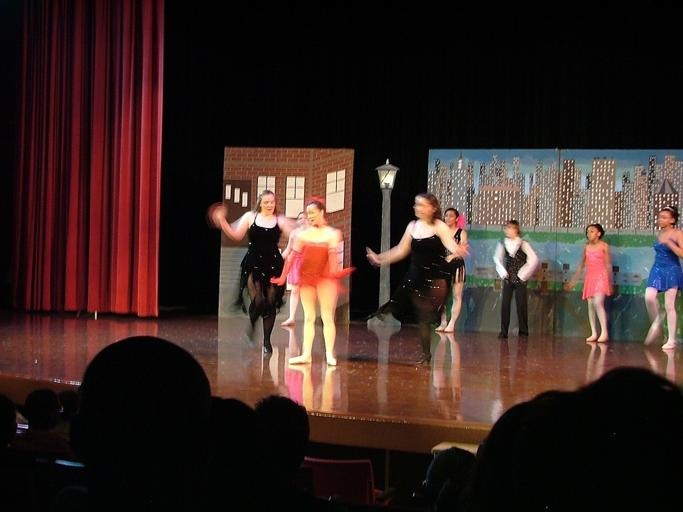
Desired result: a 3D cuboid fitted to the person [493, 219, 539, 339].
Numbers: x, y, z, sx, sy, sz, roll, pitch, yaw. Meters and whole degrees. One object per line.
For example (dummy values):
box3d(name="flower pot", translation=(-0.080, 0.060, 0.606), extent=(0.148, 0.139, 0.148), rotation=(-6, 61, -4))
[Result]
box3d(name="person", translation=(2.073, 0.244, 7.192), extent=(0.511, 1.380, 0.436), rotation=(2, -3, 0))

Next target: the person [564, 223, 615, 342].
box3d(name="person", translation=(2.869, 0.298, 7.051), extent=(0.344, 1.317, 0.400), rotation=(2, -3, -15))

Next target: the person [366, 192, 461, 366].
box3d(name="person", translation=(0.693, 0.202, 5.578), extent=(0.703, 1.411, 1.539), rotation=(1, -3, 3))

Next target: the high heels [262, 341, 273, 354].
box3d(name="high heels", translation=(-0.638, 0.800, 5.361), extent=(0.059, 0.110, 0.103), rotation=(0, -9, -3))

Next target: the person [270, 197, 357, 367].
box3d(name="person", translation=(-0.267, 0.190, 5.462), extent=(0.588, 1.391, 1.635), rotation=(2, -3, -6))
